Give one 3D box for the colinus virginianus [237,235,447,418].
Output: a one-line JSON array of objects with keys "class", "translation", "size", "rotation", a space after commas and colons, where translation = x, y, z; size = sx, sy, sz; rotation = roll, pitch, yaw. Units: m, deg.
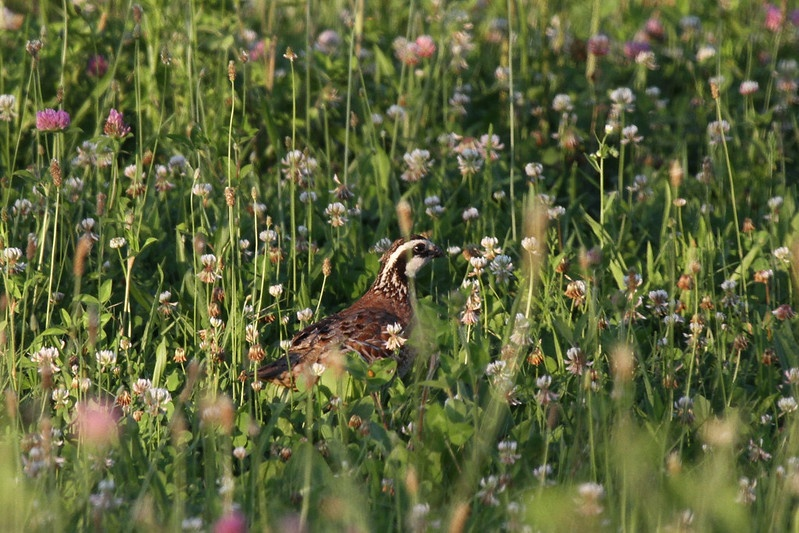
[{"class": "colinus virginianus", "translation": [-0.266, 0.310, 9.378], "size": [0.663, 0.953, 1.660], "rotation": [4, 7, 42]}]
